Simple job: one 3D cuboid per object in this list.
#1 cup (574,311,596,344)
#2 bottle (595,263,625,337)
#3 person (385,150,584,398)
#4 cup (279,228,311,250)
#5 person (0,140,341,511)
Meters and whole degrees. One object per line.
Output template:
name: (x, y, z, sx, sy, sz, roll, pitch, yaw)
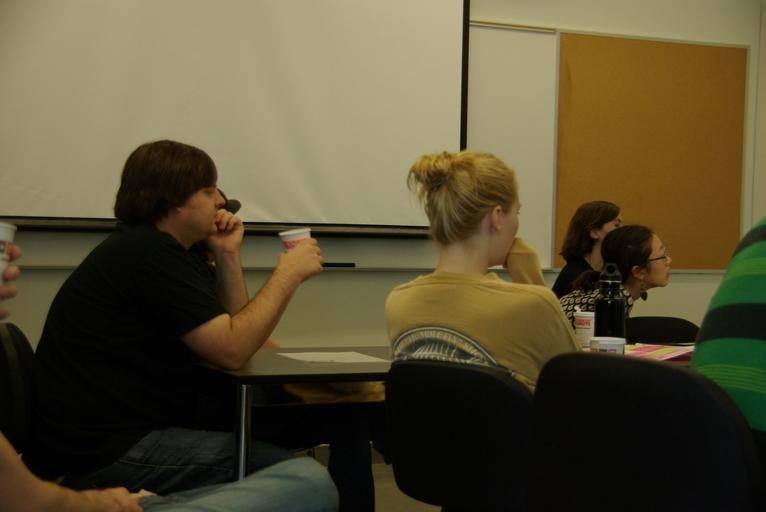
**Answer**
cup: (0.782, 0.281, 2.384, 0.089, 0.139, 0.084, 2, -2, 0)
bottle: (0.914, 0.180, 2.465, 0.115, 0.293, 0.213, 2, 9, 21)
person: (0.315, 0.034, 2.014, 0.511, 0.712, 0.790, 2, 1, -43)
cup: (-0.355, -0.062, 2.461, 0.088, 0.072, 0.090, -4, 2, 0)
person: (-0.531, 0.165, 2.036, 0.995, 1.106, 0.884, 4, 10, 33)
